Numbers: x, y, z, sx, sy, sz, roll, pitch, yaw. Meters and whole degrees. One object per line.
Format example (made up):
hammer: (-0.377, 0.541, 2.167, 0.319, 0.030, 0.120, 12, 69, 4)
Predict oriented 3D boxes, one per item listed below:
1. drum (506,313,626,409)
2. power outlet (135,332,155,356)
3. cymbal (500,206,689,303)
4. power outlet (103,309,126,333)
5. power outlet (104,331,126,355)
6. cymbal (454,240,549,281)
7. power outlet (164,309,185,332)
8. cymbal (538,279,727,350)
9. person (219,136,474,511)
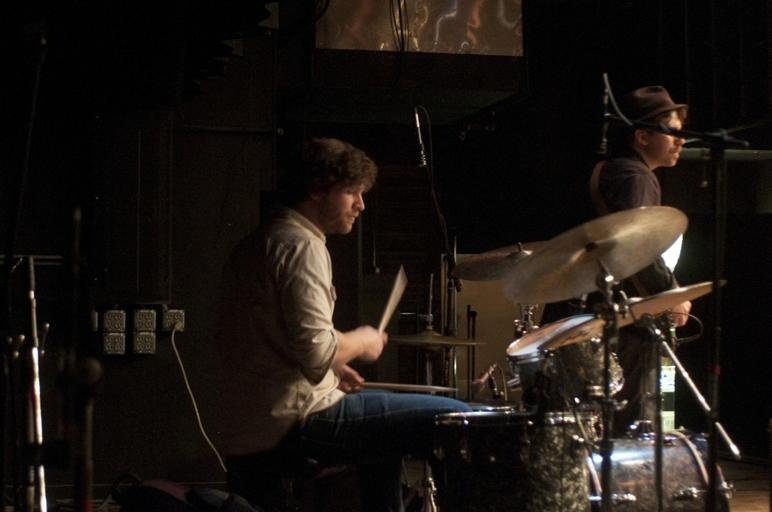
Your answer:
drum: (1.074, 0.681, 5.486, 0.666, 0.467, 0.590, -21, 2, -24)
power outlet: (-1.803, 0.646, 6.745, 0.182, 0.182, 0.036, 0, -4, -6)
cymbal: (1.172, -0.025, 5.103, 0.948, 0.129, 0.891, -1, -21, -25)
power outlet: (-2.025, 0.487, 6.728, 0.187, 0.169, 0.034, 1, 0, -4)
power outlet: (-2.022, 0.642, 6.723, 0.189, 0.168, 0.030, 0, -6, -3)
cymbal: (0.709, 0.083, 6.100, 0.476, 0.086, 0.468, -10, 23, 24)
power outlet: (-1.594, 0.482, 6.766, 0.180, 0.150, 0.046, 3, 2, -8)
cymbal: (1.348, 0.317, 4.994, 0.649, 0.125, 0.564, -12, -4, -23)
person: (-0.363, 0.342, 4.968, 1.054, 2.017, 0.384, 1, -5, -18)
